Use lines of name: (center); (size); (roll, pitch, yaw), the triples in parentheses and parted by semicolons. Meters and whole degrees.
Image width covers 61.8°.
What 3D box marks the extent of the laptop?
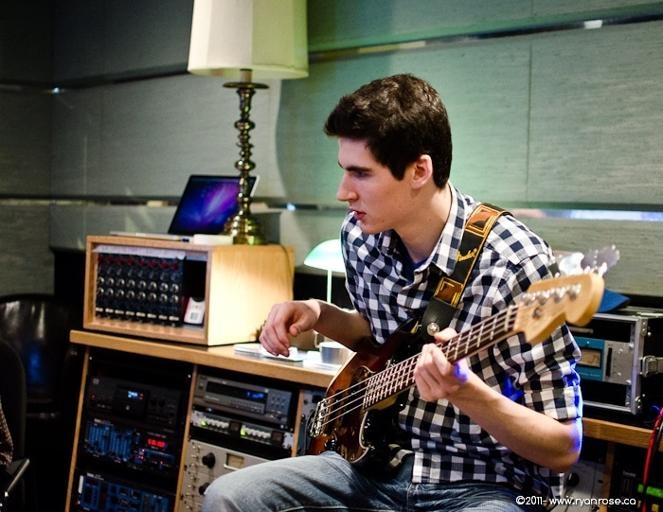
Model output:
laptop: (-0.615, -0.260, 2.755); (0.403, 0.251, 0.365); (3, -2, 38)
